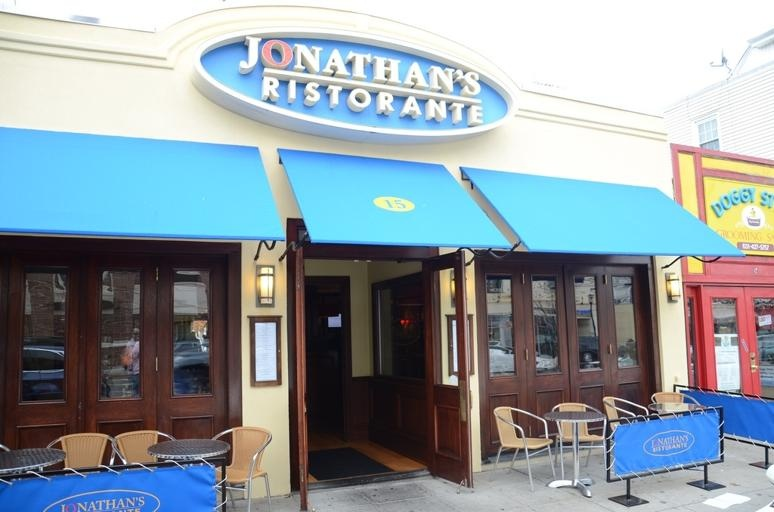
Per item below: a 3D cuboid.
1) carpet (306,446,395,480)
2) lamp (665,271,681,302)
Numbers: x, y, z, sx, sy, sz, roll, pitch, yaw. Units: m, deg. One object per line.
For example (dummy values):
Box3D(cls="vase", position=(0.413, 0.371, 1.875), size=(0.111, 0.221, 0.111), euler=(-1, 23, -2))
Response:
Box3D(cls="carpet", position=(-0.933, 4.298, 13.124), size=(1.558, 0.148, 2.099), euler=(-1, 1, -18))
Box3D(cls="lamp", position=(6.609, 0.722, 14.497), size=(0.349, 0.703, 0.207), euler=(-1, 1, -18))
